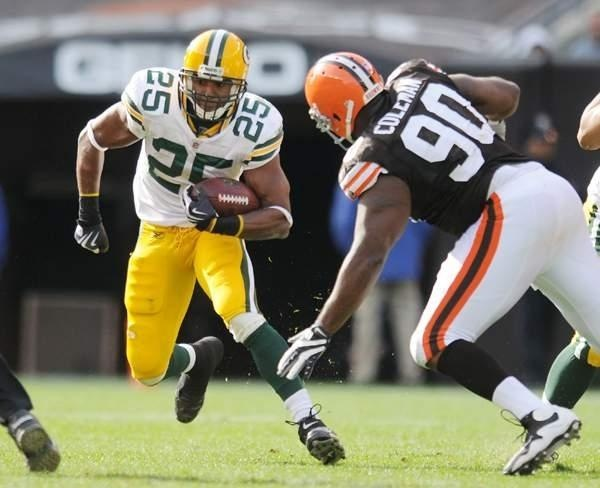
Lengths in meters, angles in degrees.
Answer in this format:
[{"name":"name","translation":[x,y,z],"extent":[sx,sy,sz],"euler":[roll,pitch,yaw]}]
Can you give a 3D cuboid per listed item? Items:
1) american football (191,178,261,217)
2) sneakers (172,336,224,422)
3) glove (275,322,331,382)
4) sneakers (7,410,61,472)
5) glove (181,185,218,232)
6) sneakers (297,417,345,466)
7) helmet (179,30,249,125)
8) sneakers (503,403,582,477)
[{"name":"american football","translation":[-0.293,-0.218,3.902],"extent":[0.272,0.169,0.177],"euler":[-4,31,-14]},{"name":"sneakers","translation":[-0.560,0.688,4.475],"extent":[0.172,0.517,0.225],"euler":[17,13,-27]},{"name":"glove","translation":[0.024,0.406,3.268],"extent":[0.150,0.253,0.073],"euler":[37,23,13]},{"name":"sneakers","translation":[-1.013,0.770,3.286],"extent":[0.138,0.109,0.245],"euler":[-34,78,-17]},{"name":"glove","translation":[-0.448,-0.163,3.748],"extent":[0.076,0.122,0.191],"euler":[-13,57,-39]},{"name":"sneakers","translation":[0.080,0.822,3.658],"extent":[0.160,0.107,0.277],"euler":[-11,14,-12]},{"name":"helmet","translation":[-0.405,-0.820,3.983],"extent":[0.307,0.377,0.457],"euler":[8,27,-4]},{"name":"sneakers","translation":[0.941,0.756,3.256],"extent":[0.239,0.285,0.170],"euler":[14,12,20]}]
